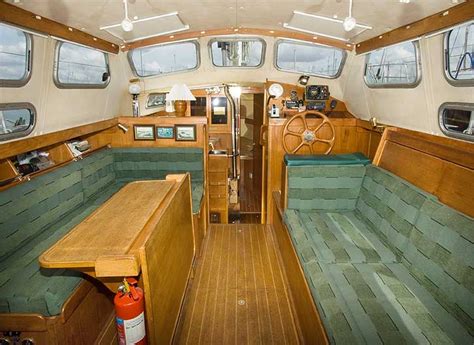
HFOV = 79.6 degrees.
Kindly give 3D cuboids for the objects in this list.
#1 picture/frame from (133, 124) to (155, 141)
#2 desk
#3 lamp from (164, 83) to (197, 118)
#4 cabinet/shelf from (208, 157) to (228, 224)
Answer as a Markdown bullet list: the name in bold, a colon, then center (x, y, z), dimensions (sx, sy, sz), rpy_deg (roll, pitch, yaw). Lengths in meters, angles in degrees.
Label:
- **picture/frame**: center (-1.421, -0.626, 4.326), dimensions (0.278, 0.212, 0.026), rpy_deg (0, 9, 0)
- **desk**: center (-0.777, 0.698, 2.267), dimensions (0.653, 1.009, 1.136), rpy_deg (3, 16, 5)
- **lamp**: center (-0.887, -1.165, 4.496), dimensions (0.396, 0.498, 0.490), rpy_deg (2, 16, 3)
- **cabinet/shelf**: center (-0.348, 0.315, 5.094), dimensions (0.335, 1.243, 0.217), rpy_deg (-2, 17, -10)
